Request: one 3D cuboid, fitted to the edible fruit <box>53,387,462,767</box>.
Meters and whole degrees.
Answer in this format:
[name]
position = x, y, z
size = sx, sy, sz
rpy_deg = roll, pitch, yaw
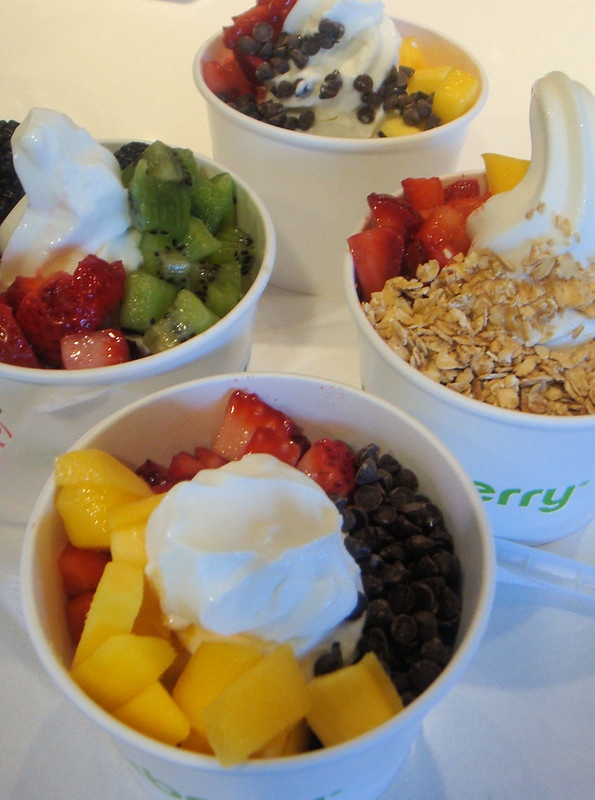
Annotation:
[edible fruit]
position = -0.049, 0.199, 0.840
size = 0.362, 0.152, 0.342
rpy_deg = 4, 41, 2
